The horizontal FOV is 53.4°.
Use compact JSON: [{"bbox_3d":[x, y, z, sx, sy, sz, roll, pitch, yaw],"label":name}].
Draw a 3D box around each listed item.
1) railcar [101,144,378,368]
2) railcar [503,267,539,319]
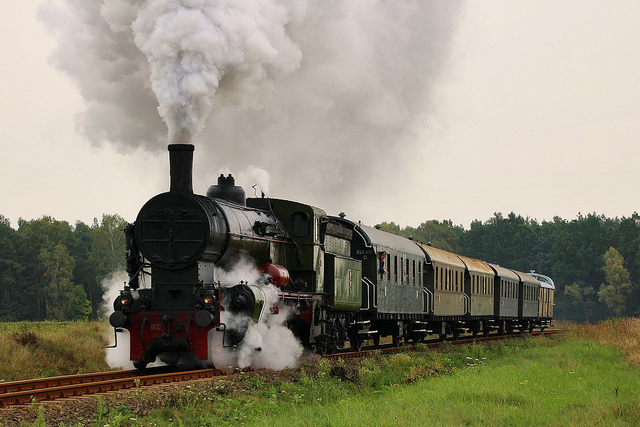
[{"bbox_3d":[-1.850,1.972,23.982,4.383,6.540,13.368,-2,-7,25],"label":"railcar"},{"bbox_3d":[14.957,6.168,47.626,2.847,4.773,5.339,1,0,10],"label":"railcar"}]
